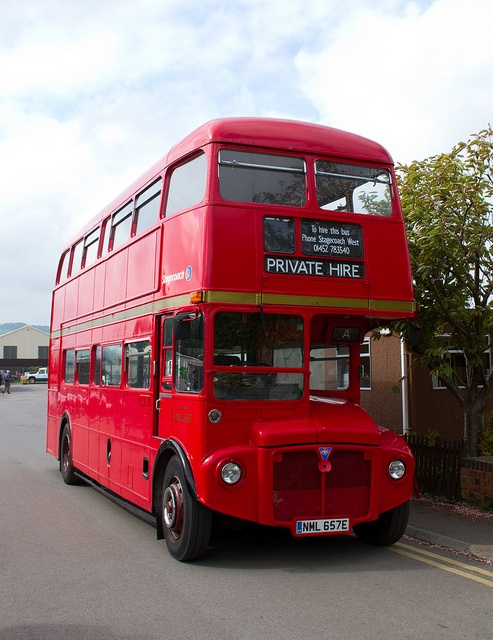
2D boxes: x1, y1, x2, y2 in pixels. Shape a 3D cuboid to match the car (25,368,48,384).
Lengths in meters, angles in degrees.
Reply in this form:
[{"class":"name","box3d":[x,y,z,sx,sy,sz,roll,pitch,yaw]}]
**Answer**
[{"class":"car","box3d":[-38.859,10.410,87.815,2.856,2.823,5.409,2,-4,-31]}]
